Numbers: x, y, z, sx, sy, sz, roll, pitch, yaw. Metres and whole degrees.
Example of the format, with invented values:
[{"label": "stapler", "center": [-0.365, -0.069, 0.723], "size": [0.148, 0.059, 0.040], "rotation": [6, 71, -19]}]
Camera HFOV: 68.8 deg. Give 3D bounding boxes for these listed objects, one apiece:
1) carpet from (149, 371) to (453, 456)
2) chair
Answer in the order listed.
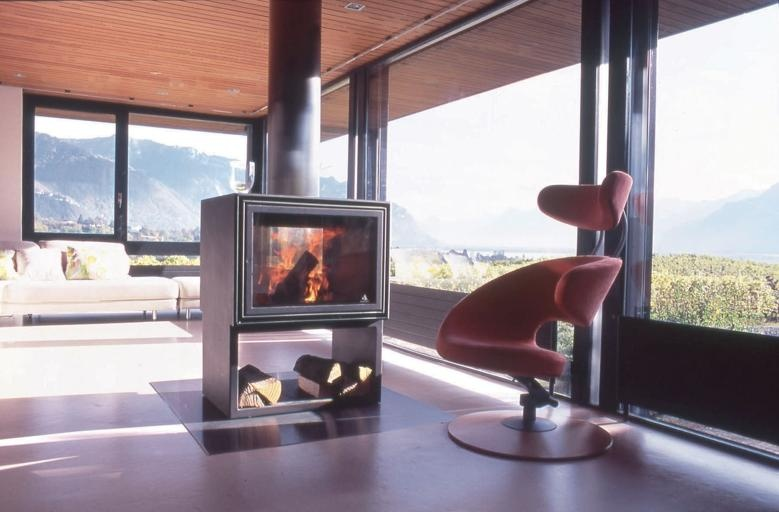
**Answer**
[{"label": "carpet", "center": [-0.666, 1.108, 4.069], "size": [2.118, 0.045, 1.175], "rotation": [0, 9, -8]}, {"label": "chair", "center": [0.965, 0.332, 3.835], "size": [1.227, 1.714, 1.140], "rotation": [2, 1, 20]}]
